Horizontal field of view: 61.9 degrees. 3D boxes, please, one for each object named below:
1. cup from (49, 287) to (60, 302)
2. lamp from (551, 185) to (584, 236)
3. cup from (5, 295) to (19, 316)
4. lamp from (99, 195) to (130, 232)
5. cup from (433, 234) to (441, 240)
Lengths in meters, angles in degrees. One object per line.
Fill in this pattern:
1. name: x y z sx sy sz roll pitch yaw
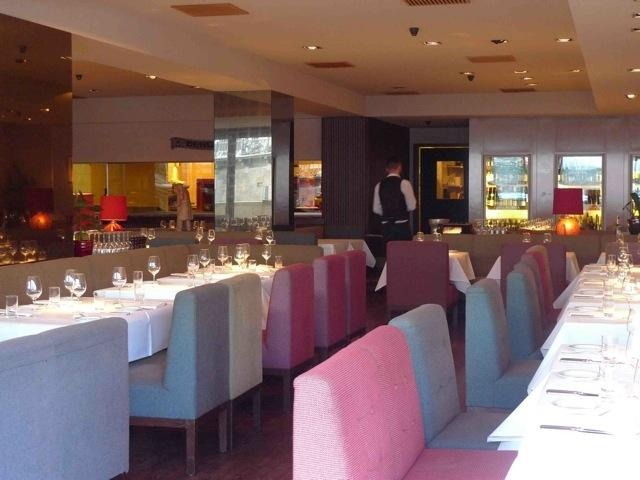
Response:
1. cup: -1.825 0.376 3.665 0.061 0.099 0.070 -3 4 -36
2. lamp: 4.100 -0.414 8.792 0.479 0.827 0.478 1 1 -37
3. cup: -1.988 0.411 3.426 0.063 0.125 0.173 -2 4 -32
4. lamp: -3.281 -0.360 8.427 0.395 0.665 0.414 0 -1 2
5. cup: 1.796 -0.041 8.141 0.096 0.098 0.090 0 -1 0
